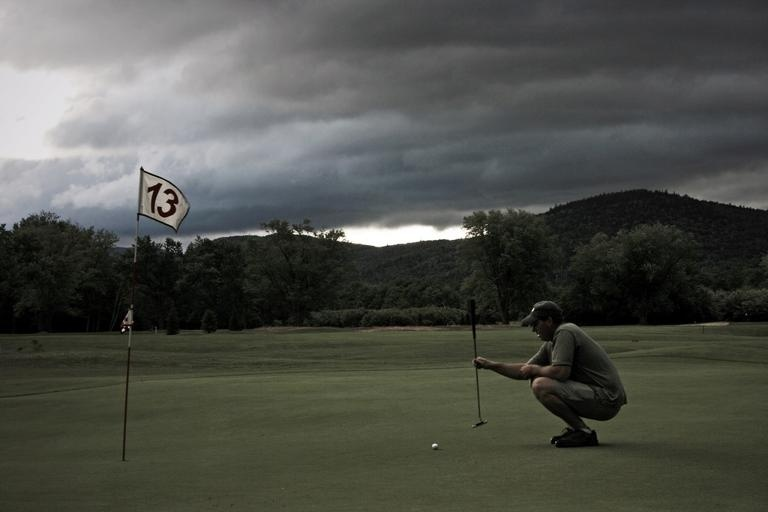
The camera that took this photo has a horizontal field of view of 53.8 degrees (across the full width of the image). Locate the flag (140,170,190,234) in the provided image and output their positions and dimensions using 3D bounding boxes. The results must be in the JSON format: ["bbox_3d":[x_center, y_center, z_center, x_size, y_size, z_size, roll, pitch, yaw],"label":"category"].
[{"bbox_3d":[-3.805,-0.948,13.079,0.776,1.012,0.357,-1,-5,-15],"label":"flag"}]

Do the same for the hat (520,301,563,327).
[{"bbox_3d":[2.612,0.946,12.509,0.616,0.315,0.394,-2,-5,3],"label":"hat"}]
